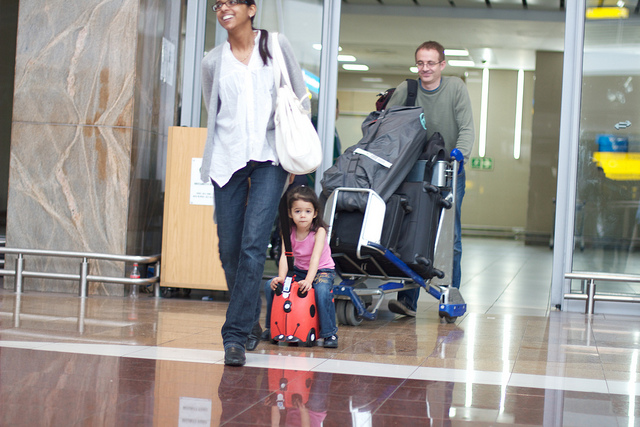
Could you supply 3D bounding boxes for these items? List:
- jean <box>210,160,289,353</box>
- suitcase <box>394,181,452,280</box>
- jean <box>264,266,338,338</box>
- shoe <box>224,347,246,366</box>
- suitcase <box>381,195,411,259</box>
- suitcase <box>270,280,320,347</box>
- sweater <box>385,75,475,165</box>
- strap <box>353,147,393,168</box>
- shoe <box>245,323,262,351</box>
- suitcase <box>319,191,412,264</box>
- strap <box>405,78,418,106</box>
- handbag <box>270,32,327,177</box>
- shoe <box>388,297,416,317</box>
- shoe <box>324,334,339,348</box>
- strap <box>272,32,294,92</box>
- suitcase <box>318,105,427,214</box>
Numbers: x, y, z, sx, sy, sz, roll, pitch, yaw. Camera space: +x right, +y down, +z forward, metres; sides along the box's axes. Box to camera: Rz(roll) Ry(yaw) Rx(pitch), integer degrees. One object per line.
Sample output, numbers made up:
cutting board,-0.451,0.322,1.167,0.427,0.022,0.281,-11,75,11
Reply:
jean,-0.476,0.276,3.579,0.501,1.009,0.295,2,1,-12
suitcase,1.063,0.131,5.050,0.390,0.805,0.841,24,0,20
jean,-0.077,0.694,4.257,0.576,0.521,0.548,-2,-16,15
shoe,-0.532,0.894,3.395,0.095,0.062,0.173,1,-8,-7
suitcase,0.670,0.108,4.770,0.276,0.504,0.149,2,1,-8
suitcase,-0.185,0.746,4.164,0.328,0.461,0.479,0,2,16
sweater,1.090,-1.016,5.534,0.908,0.493,0.854,10,-31,19
strap,0.486,-0.495,4.859,0.448,0.122,0.037,27,-13,23
shoe,-0.465,0.868,3.840,0.067,0.076,0.194,6,34,9
suitcase,0.384,0.127,4.672,0.574,0.492,0.293,9,5,-44
strap,0.912,-1.203,5.416,0.098,0.249,0.172,2,1,15
handbag,-0.155,-0.720,3.599,0.340,0.782,0.231,3,1,28
shoe,0.790,0.919,5.298,0.180,0.170,0.350,3,1,39
shoe,0.077,0.936,4.000,0.071,0.082,0.199,-1,-10,5
strap,-0.247,-1.014,3.600,0.058,0.314,0.193,-18,18,-4
suitcase,0.497,-0.558,5.006,0.689,0.451,1.186,13,42,29
